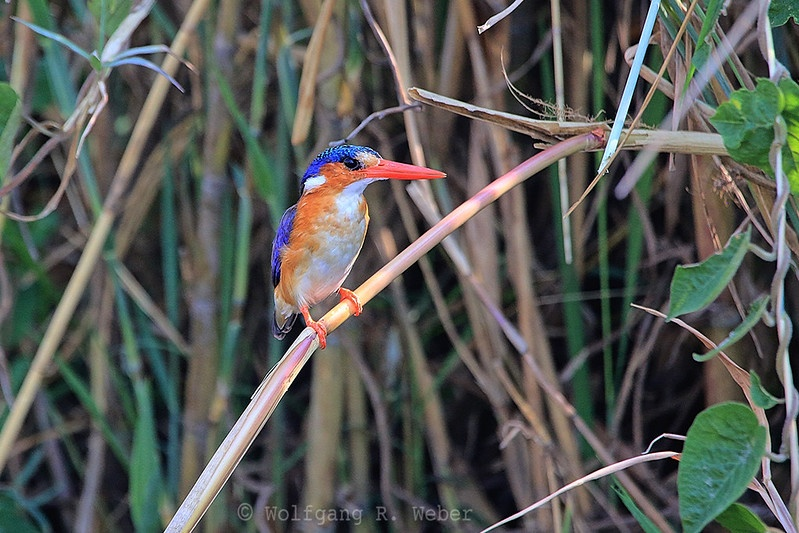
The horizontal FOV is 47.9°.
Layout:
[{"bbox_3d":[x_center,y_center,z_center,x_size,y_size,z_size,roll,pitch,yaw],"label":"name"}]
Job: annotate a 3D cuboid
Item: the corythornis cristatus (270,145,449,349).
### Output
[{"bbox_3d":[-0.172,-0.080,2.709,0.449,0.641,0.318,-5,38,-10],"label":"corythornis cristatus"}]
